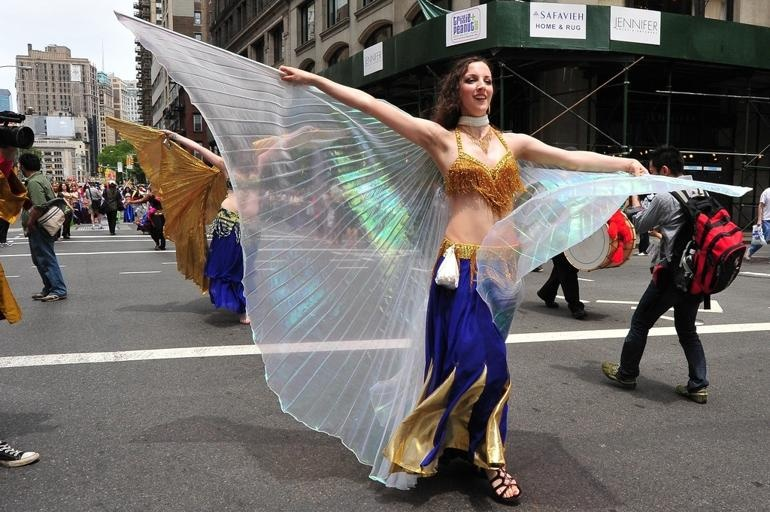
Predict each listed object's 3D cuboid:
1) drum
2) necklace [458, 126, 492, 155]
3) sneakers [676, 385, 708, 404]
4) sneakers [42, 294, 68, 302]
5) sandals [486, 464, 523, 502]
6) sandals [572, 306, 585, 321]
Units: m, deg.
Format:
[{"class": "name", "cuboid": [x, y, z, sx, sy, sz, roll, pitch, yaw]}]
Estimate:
[{"class": "drum", "cuboid": [2.857, -0.199, 8.455, 0.463, 0.764, 0.774, 3, 8, -19]}, {"class": "necklace", "cuboid": [0.715, -0.858, 4.861, 0.188, 0.188, 0.024, 6, -27, -39]}, {"class": "sneakers", "cuboid": [2.860, 1.282, 6.066, 0.116, 0.145, 0.328, -1, 6, -22]}, {"class": "sneakers", "cuboid": [-4.971, 0.621, 9.693, 0.320, 0.147, 0.118, 4, -2, -30]}, {"class": "sandals", "cuboid": [0.867, 1.625, 4.676, 0.260, 0.234, 0.227, 2, 13, 10]}, {"class": "sandals", "cuboid": [2.595, 0.750, 8.619, 0.227, 0.099, 0.082, -34, 27, -31]}]
